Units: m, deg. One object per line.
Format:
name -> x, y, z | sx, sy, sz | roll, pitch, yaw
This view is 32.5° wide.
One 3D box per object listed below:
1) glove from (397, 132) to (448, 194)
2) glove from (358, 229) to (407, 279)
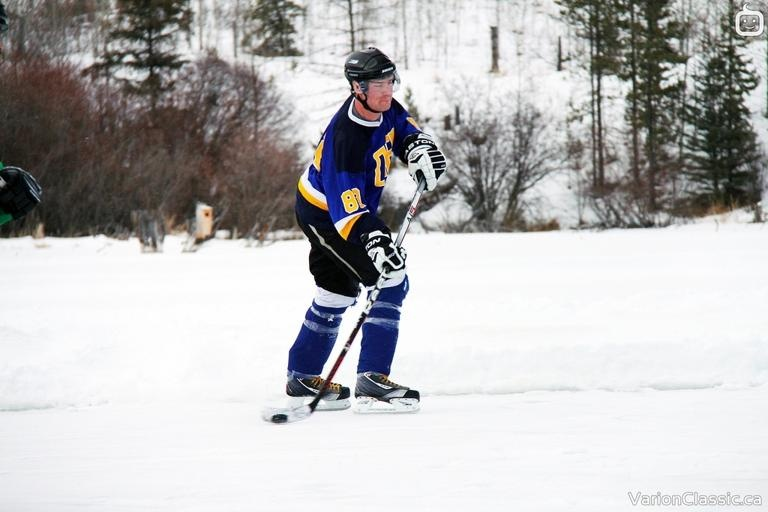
glove -> 0.372, -0.875, 12.274 | 0.254, 0.400, 0.525 | -13, 38, -12
glove -> 0.000, -0.006, 12.006 | 0.400, 0.454, 0.216 | -1, 6, -1
